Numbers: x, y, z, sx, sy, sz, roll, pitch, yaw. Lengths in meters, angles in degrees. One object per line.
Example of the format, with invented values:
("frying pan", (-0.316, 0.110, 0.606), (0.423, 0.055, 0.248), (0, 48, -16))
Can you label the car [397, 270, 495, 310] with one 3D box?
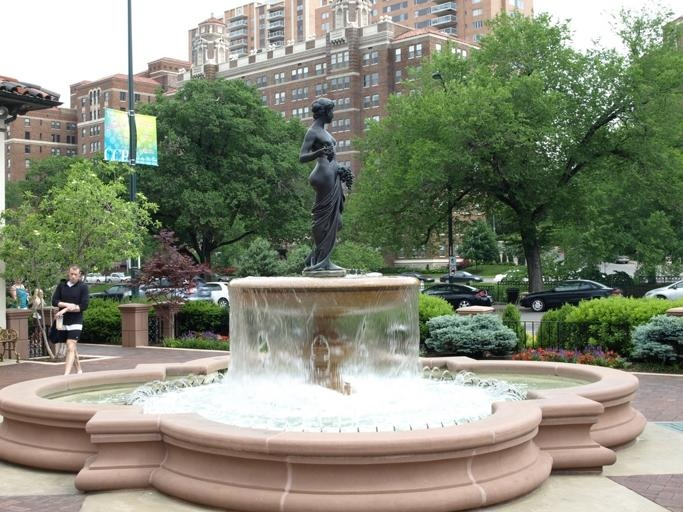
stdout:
("car", (5.690, 1.900, 38.232), (2.576, 1.149, 4.996), (0, -1, -17))

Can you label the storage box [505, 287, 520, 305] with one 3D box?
("storage box", (9.773, 2.214, 43.874), (0.703, 0.719, 1.110), (-1, -1, 14))

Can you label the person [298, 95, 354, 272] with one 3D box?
("person", (-0.262, -1.345, 13.941), (0.892, 3.248, 1.547), (0, 0, 0))

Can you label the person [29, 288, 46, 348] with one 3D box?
("person", (-8.630, 1.593, 22.007), (0.628, 1.356, 0.613), (-1, 4, -27))
